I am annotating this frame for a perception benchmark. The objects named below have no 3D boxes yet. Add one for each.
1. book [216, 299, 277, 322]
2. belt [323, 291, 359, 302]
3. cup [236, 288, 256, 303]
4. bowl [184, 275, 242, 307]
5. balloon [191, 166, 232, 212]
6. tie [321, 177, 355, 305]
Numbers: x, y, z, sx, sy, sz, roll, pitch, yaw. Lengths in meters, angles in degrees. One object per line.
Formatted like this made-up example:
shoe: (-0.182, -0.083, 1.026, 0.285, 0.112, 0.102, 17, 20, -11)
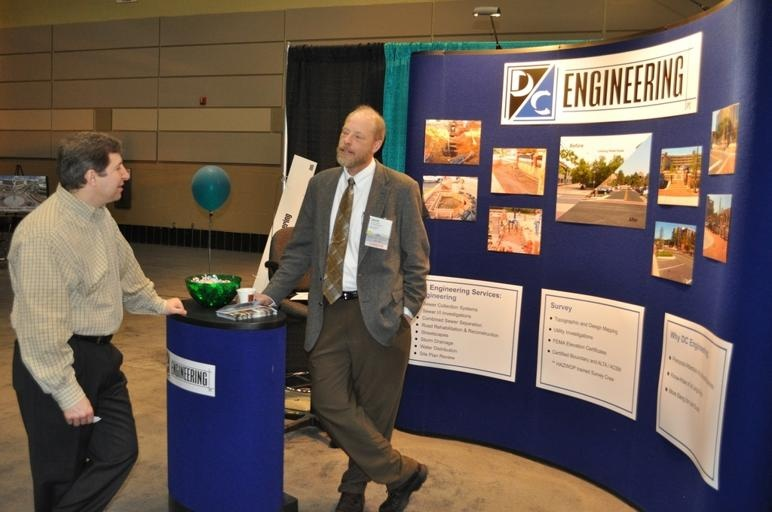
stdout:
book: (-0.700, 0.276, 2.737, 0.302, 0.037, 0.217, -1, 12, -10)
belt: (-0.210, 0.222, 2.887, 0.122, 0.058, 0.017, 2, 12, 1)
cup: (-0.735, 0.206, 2.854, 0.081, 0.065, 0.067, 3, 3, 18)
bowl: (-0.887, 0.171, 2.890, 0.191, 0.106, 0.199, 1, 2, 0)
balloon: (-1.970, -0.756, 6.126, 0.438, 0.571, 0.447, -5, 10, -39)
tie: (-0.253, -0.091, 2.924, 0.123, 0.644, 0.269, 3, 12, 9)
